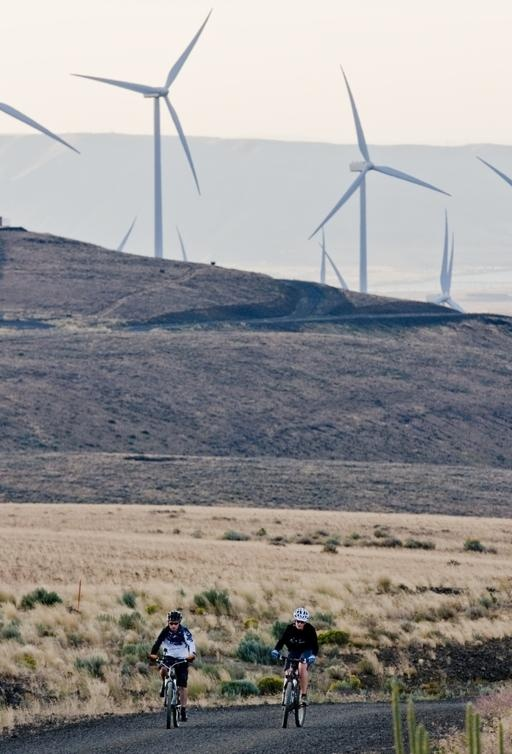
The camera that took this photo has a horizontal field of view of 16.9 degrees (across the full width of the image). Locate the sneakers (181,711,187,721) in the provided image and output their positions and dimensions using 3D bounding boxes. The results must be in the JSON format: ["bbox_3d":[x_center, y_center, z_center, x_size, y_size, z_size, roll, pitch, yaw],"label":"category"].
[{"bbox_3d":[-1.485,6.908,34.771,0.090,0.206,0.270,9,15,-12],"label":"sneakers"}]

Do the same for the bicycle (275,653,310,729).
[{"bbox_3d":[0.780,6.501,34.976,0.461,1.315,0.745,4,9,-2],"label":"bicycle"}]

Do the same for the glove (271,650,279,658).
[{"bbox_3d":[0.382,5.655,34.830,0.110,0.148,0.128,-3,9,-19],"label":"glove"}]

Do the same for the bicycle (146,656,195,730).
[{"bbox_3d":[-1.719,6.442,34.607,0.605,1.576,0.756,4,9,-2],"label":"bicycle"}]
